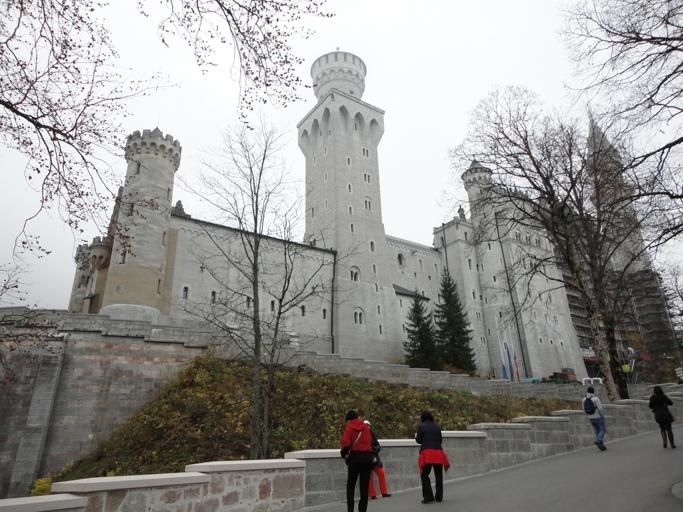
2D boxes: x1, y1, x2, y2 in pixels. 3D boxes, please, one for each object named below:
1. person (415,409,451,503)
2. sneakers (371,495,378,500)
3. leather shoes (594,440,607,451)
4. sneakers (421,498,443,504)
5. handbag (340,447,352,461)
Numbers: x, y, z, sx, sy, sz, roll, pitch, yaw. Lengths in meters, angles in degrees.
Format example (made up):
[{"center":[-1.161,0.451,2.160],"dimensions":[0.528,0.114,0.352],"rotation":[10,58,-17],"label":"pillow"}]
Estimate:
[{"center":[1.966,4.379,8.868],"dimensions":[0.623,1.751,1.125],"rotation":[-5,-20,10],"label":"person"},{"center":[0.724,5.574,9.226],"dimensions":[0.154,0.066,0.052],"rotation":[-23,-28,39],"label":"sneakers"},{"center":[8.076,5.998,12.692],"dimensions":[0.274,0.264,0.417],"rotation":[-13,-24,28],"label":"leather shoes"},{"center":[1.814,4.999,8.233],"dimensions":[0.409,0.191,0.144],"rotation":[-7,-25,12],"label":"sneakers"},{"center":[0.063,4.023,8.248],"dimensions":[0.192,0.288,0.283],"rotation":[5,14,-2],"label":"handbag"}]
